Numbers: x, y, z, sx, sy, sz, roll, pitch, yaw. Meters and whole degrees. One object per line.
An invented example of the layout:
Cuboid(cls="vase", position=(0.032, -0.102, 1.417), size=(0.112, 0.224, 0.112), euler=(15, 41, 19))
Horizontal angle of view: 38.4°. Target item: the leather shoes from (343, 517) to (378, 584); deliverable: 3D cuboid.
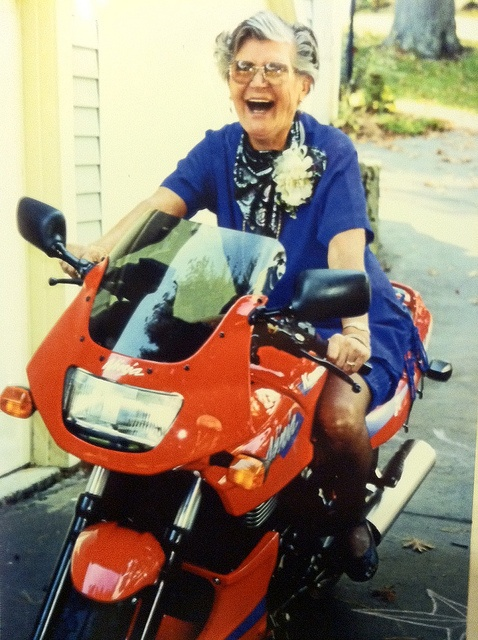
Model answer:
Cuboid(cls="leather shoes", position=(0.368, 0.674, 2.015), size=(0.078, 0.079, 0.208), euler=(-7, 23, 22))

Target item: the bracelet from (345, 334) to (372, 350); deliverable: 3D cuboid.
Cuboid(cls="bracelet", position=(0.297, 0.054, 1.683), size=(0.048, 0.042, 0.033), euler=(16, -32, -13))

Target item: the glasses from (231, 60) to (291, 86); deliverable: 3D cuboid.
Cuboid(cls="glasses", position=(0.055, -0.651, 1.798), size=(0.091, 0.028, 0.086), euler=(1, 2, 3))

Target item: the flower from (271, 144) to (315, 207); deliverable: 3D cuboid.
Cuboid(cls="flower", position=(0.147, -0.390, 1.870), size=(0.155, 0.148, 0.076), euler=(1, -2, -10))
